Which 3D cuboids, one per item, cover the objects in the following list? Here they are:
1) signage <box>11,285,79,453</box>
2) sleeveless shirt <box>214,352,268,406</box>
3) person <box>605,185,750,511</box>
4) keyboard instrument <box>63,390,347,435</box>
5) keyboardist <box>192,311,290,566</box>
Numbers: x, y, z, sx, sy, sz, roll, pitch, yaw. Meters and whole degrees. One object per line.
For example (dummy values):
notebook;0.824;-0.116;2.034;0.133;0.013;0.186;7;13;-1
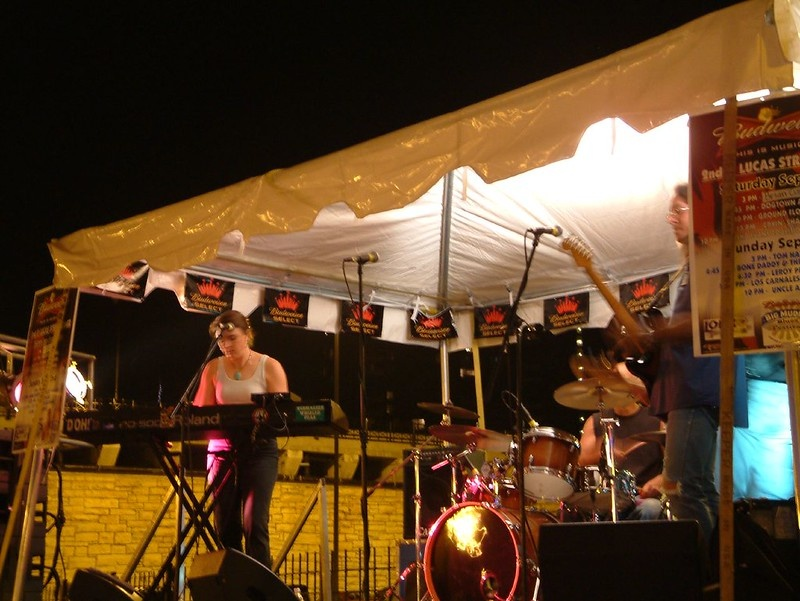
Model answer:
signage;-3.262;0.648;7.171;0.466;1.849;0.538;6;-7;-38
sleeveless shirt;-1.513;0.801;7.372;0.441;0.675;0.350;4;9;-11
person;2.019;0.370;5.674;0.777;2.385;0.934;2;-1;-2
keyboard instrument;-1.767;0.990;6.904;2.470;0.385;0.766;-5;2;15
keyboardist;-1.398;1.392;6.887;0.693;2.554;0.702;-5;-4;20
